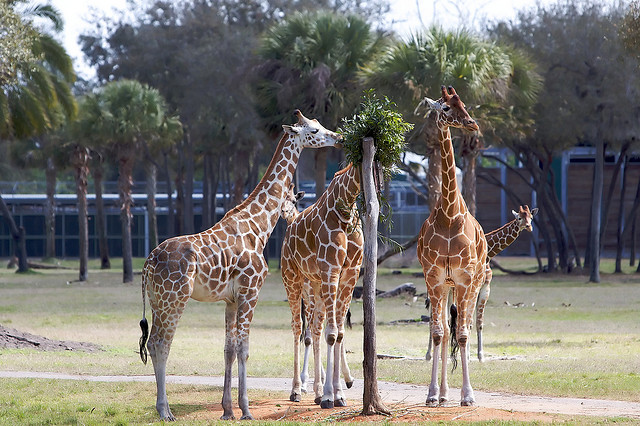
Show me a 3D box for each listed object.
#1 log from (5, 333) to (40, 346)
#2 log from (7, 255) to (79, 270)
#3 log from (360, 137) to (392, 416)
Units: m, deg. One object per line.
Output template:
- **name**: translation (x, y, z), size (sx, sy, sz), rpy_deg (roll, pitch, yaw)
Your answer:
- **log**: translation (-12.205, 5.270, 62.129), size (1.371, 0.506, 0.321), rpy_deg (-2, -3, 17)
- **log**: translation (-12.501, 2.274, 67.505), size (0.751, 0.593, 3.251), rpy_deg (-4, -4, 43)
- **log**: translation (1.988, 2.372, 56.454), size (0.878, 10.421, 0.892), rpy_deg (-1, -3, 12)
